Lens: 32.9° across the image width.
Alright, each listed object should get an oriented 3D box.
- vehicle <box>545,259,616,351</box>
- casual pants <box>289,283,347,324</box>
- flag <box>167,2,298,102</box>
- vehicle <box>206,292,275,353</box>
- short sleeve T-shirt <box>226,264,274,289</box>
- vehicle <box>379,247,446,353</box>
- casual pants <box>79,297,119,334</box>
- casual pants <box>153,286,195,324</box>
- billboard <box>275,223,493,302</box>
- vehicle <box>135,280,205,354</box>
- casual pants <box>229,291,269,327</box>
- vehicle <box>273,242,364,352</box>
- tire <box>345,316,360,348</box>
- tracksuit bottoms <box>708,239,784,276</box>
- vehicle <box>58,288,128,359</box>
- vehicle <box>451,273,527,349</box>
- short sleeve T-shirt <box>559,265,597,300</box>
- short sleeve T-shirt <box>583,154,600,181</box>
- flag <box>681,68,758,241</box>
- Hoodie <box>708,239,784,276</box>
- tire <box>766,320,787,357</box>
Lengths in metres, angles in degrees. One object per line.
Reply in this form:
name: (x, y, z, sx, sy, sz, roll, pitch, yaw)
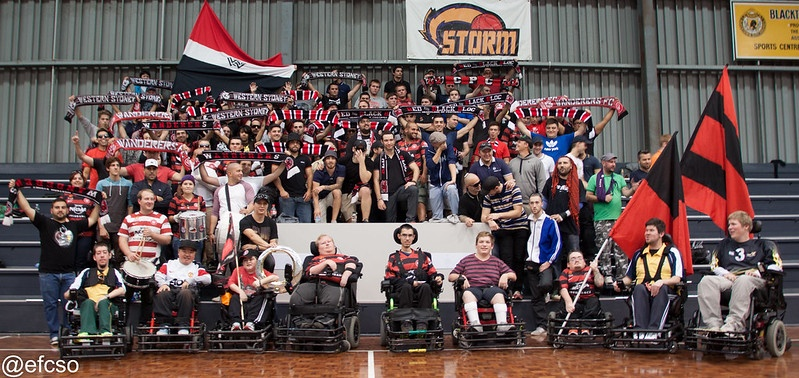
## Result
vehicle: (6.518, 3.776, 48.722, 2.175, 3.493, 3.313, -1, -5, 4)
casual pants: (-3.013, 4.018, 48.533, 1.311, 0.653, 1.761, 0, 5, 8)
flag: (-7.000, -5.399, 56.223, 3.994, 3.516, 0.500, 0, -6, -11)
vehicle: (-5.564, 4.973, 48.850, 1.444, 1.567, 2.614, -1, -12, 0)
short sleeve T-shirt: (-5.633, 3.135, 48.644, 1.092, 0.939, 0.506, -4, -12, -4)
vehicle: (0.459, 3.862, 48.596, 2.186, 3.424, 3.486, -1, 2, -10)
casual pants: (-10.733, 4.427, 48.053, 1.240, 1.275, 0.469, 1, 15, -13)
casual pants: (-8.041, 4.073, 48.240, 1.019, 1.382, 1.400, 1, -38, -7)
billboard: (-0.670, 2.834, 49.454, 6.588, 3.034, 1.650, -1, 2, -4)
vehicle: (-8.052, 4.705, 48.139, 1.646, 2.006, 2.688, 0, -19, -5)
casual pants: (-5.379, 4.263, 47.980, 0.949, 1.440, 0.594, 2, -21, -4)
vehicle: (-2.893, 3.651, 48.449, 2.988, 3.931, 3.703, 0, 2, -11)
tire: (-1.683, 4.981, 48.404, 0.281, 1.088, 0.772, -3, -4, 38)
tracksuit bottoms: (12.152, 2.455, 48.032, 2.200, 1.472, 1.319, 2, 11, 18)
vehicle: (-11.173, 4.947, 49.051, 2.513, 2.855, 3.702, 4, -4, -9)
vehicle: (3.090, 4.382, 49.134, 2.700, 2.763, 3.911, -4, 0, 6)
short sleeve T-shirt: (6.445, 3.307, 48.704, 0.857, 0.848, 0.487, 19, -13, -5)
short sleeve T-shirt: (7.208, -0.735, 51.083, 0.860, 1.066, 0.390, 1, -8, 3)
flag: (11.721, -1.473, 49.739, 2.833, 7.657, 0.816, 9, -33, 2)
Hoodie: (12.131, 2.469, 48.021, 2.257, 1.444, 1.344, 2, 5, 26)
tire: (13.184, 5.127, 47.516, 0.337, 1.386, 1.188, -3, -2, 43)
